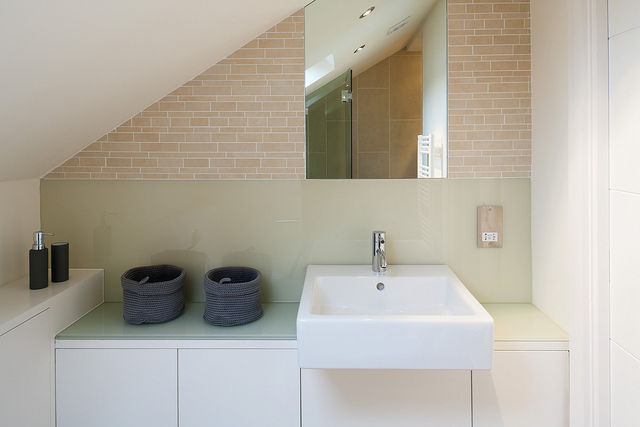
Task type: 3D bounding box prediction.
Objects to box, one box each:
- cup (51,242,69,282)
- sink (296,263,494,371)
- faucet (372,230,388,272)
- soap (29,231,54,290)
[{"bbox_3d":[-1.344,0.254,2.459,0.086,0.198,0.057,-4,5,-31],"label":"cup"},{"bbox_3d":[0.337,0.524,2.340,0.833,0.443,0.643,-2,4,2],"label":"sink"},{"bbox_3d":[0.318,0.205,2.536,0.071,0.210,0.084,-2,4,1],"label":"faucet"},{"bbox_3d":[-1.395,0.234,2.366,0.056,0.279,0.094,2,6,40],"label":"soap"}]
